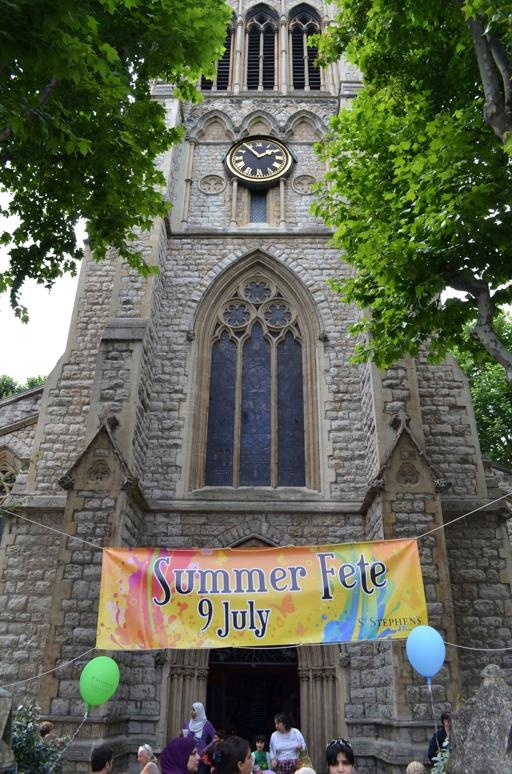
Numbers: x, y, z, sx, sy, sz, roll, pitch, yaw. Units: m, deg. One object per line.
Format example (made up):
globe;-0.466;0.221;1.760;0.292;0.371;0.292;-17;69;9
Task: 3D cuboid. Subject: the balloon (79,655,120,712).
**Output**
balloon;-1.510;2.796;5.496;0.359;0.571;0.358;11;11;-10

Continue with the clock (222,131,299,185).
clock;0.085;-5.297;13.547;1.766;1.620;0.272;1;-36;1

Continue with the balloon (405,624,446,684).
balloon;1.590;2.506;5.505;0.256;0.478;0.306;14;-29;-22
